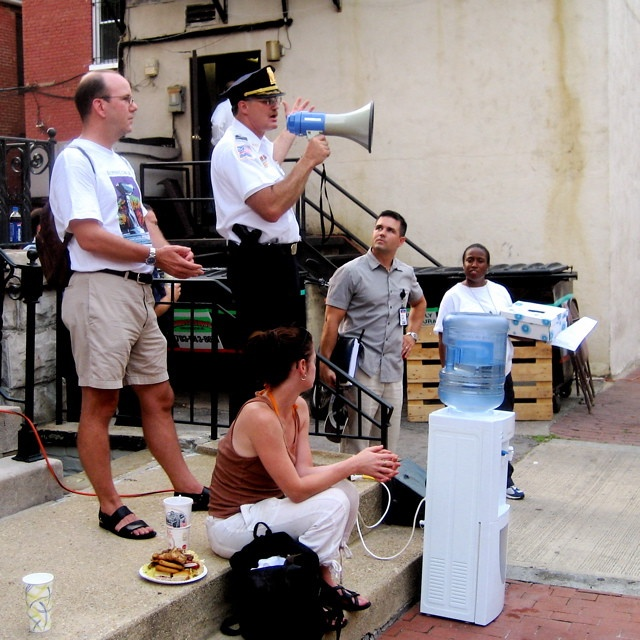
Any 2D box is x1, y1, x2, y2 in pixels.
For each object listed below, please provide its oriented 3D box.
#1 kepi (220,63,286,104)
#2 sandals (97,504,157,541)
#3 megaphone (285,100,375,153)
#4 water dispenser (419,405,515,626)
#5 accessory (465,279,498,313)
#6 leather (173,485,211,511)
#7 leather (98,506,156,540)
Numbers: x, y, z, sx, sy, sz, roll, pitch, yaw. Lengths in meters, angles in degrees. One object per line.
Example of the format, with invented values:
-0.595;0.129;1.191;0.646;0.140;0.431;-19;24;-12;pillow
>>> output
-0.321;-1.105;4.190;0.253;0.160;0.203;-3;12;-26;kepi
-0.933;0.977;4.241;0.369;0.099;0.184;11;14;33;sandals
0.055;-0.913;4.261;0.427;0.210;0.239;3;1;9;megaphone
0.679;0.923;4.376;0.363;1.089;0.431;0;0;37;water dispenser
1.113;-0.150;6.160;0.277;0.209;0.137;1;-7;-13;accessory
-0.619;0.914;4.531;0.370;0.116;0.112;1;4;-6;leather
-0.920;0.969;4.251;0.310;0.107;0.119;6;10;26;leather
